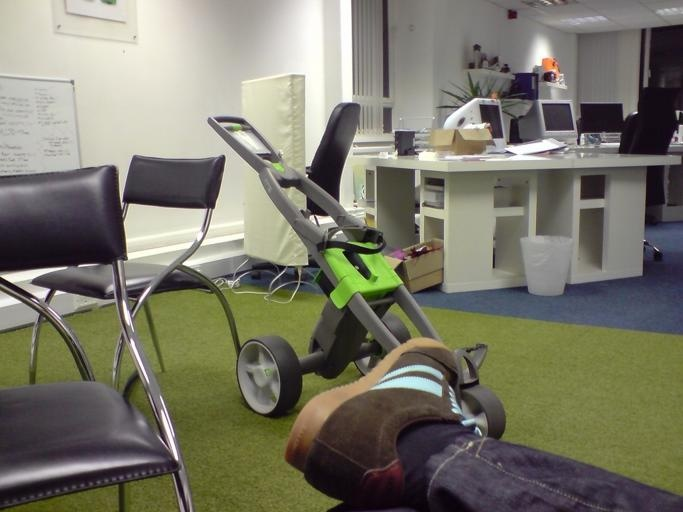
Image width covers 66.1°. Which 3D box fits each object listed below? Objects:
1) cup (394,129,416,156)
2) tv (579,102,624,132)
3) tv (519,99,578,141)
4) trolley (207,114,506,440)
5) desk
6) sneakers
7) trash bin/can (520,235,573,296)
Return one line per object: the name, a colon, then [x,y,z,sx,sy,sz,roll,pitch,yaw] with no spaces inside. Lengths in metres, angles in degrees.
cup: [0.512,-0.921,4.253,0.188,0.282,0.188,-2,12,0]
tv: [3.200,-1.699,6.453,0.640,0.435,0.028,-5,6,-21]
tv: [2.197,-1.387,5.539,0.482,0.437,0.358,-6,2,-24]
trolley: [0.002,0.064,2.050,0.656,1.038,1.519,-8,11,-39]
desk: [1.275,-0.329,3.724,1.503,0.799,1.560,-5,9,-21]
sneakers: [0.137,0.300,1.249,0.250,0.219,0.604,-27,14,35]
trash bin/can: [1.356,0.064,3.446,0.301,0.359,0.323,-7,10,-9]
